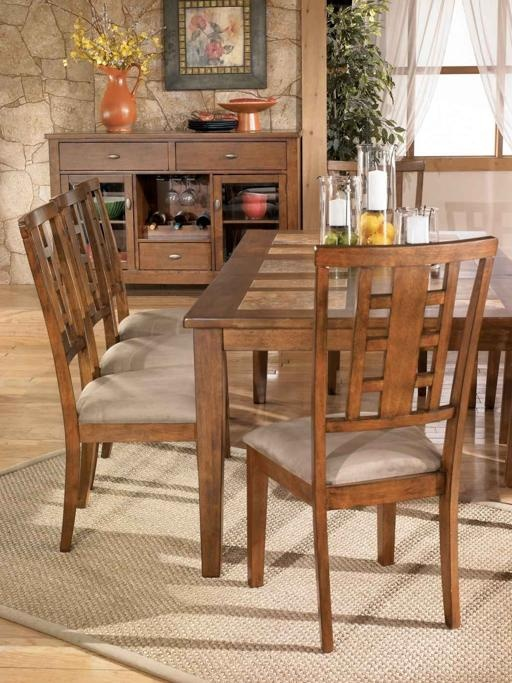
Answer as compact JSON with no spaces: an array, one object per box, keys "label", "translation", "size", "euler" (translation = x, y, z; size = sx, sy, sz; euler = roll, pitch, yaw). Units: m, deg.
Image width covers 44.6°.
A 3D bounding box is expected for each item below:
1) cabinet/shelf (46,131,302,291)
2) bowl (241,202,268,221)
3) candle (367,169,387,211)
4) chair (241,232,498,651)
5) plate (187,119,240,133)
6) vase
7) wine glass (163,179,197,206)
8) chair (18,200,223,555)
[{"label":"cabinet/shelf","translation":[-0.454,-0.833,3.764],"size":[1.756,0.943,0.470],"euler":[0,12,1]},{"label":"bowl","translation":[-0.003,-0.955,4.585],"size":[0.163,0.103,0.142],"euler":[-1,3,-1]},{"label":"candle","translation":[0.338,-0.417,1.735],"size":[0.059,0.115,0.046],"euler":[0,12,7]},{"label":"chair","translation":[0.218,0.199,1.237],"size":[0.375,0.792,0.415],"euler":[-6,12,-19]},{"label":"plate","translation":[-0.307,-1.564,4.564],"size":[0.365,0.108,0.162],"euler":[-2,10,-5]},{"label":"vase","translation":[-1.005,-1.815,4.675],"size":[0.319,0.549,0.515],"euler":[-3,11,-9]},{"label":"wine glass","translation":[-0.557,-1.136,4.750],"size":[0.204,0.166,0.249],"euler":[1,-2,-11]},{"label":"chair","translation":[-0.338,-0.012,1.855],"size":[0.465,0.745,0.933],"euler":[4,19,-4]}]
